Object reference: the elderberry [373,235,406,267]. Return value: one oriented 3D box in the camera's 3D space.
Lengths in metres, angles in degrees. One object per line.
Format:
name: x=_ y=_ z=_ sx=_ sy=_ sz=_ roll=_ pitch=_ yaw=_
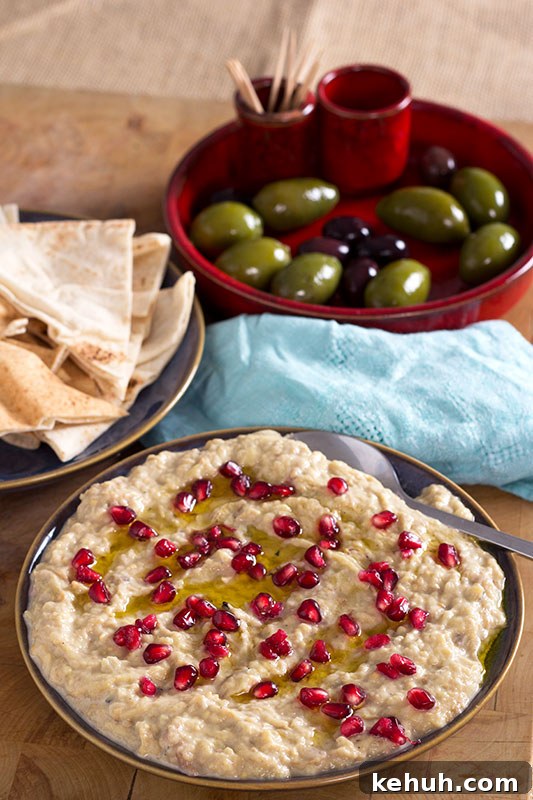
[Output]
elderberry: x=0.316 y=-0.379 z=1.987 sx=0.087 sy=0.037 sz=0.065 roll=-2 pitch=17 yaw=-43
